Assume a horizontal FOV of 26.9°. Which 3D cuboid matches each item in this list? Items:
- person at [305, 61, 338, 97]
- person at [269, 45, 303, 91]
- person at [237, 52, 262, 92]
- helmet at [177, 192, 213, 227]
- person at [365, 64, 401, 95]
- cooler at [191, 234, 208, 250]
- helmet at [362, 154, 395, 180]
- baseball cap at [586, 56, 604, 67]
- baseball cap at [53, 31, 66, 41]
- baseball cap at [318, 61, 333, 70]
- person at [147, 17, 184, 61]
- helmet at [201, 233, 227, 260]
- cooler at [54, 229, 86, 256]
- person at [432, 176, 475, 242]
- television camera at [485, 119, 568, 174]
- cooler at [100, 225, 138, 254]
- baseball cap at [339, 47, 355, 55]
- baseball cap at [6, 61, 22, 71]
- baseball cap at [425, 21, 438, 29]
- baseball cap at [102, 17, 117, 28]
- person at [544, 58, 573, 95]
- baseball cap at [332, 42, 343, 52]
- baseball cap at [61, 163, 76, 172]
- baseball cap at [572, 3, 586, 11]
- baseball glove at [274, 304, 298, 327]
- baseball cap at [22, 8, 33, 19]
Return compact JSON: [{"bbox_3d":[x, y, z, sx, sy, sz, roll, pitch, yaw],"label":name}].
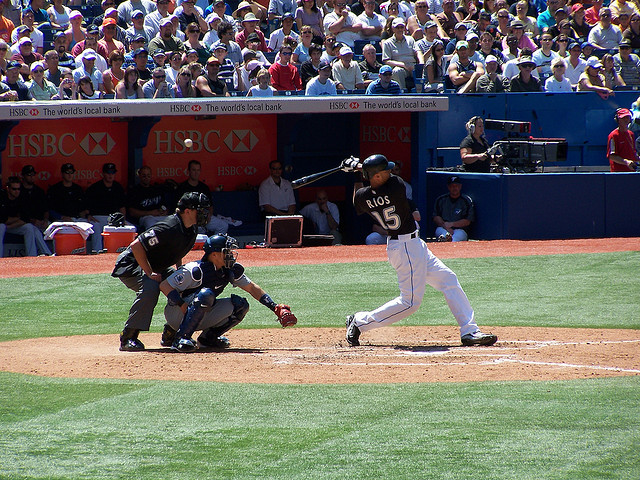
[{"bbox_3d":[0.032,-2.742,23.120,0.499,0.539,0.985,2,13,15],"label":"person"},{"bbox_3d":[-0.610,-3.002,23.396,0.576,0.794,0.479,-2,13,-4],"label":"person"},{"bbox_3d":[-1.221,-2.859,23.069,0.477,0.726,0.417,-7,38,-14],"label":"person"},{"bbox_3d":[-1.403,-0.316,14.749,0.336,0.292,0.281,9,-6,-2],"label":"helmet"},{"bbox_3d":[1.102,-2.762,23.423,0.854,0.508,0.448,1,-8,-42],"label":"person"},{"bbox_3d":[-1.961,0.046,21.729,0.351,0.183,0.461,2,11,0],"label":"cooler"},{"bbox_3d":[0.635,-0.792,14.811,0.348,0.289,0.246,-1,13,1],"label":"helmet"},{"bbox_3d":[5.178,-3.367,25.350,0.324,0.160,0.231,-2,0,34],"label":"baseball cap"},{"bbox_3d":[-4.382,-3.400,22.337,0.187,0.090,0.284,-7,6,-32],"label":"baseball cap"},{"bbox_3d":[0.051,-3.017,23.193,0.171,0.099,0.237,-1,6,-23],"label":"baseball cap"},{"bbox_3d":[-2.617,-3.402,22.843,0.443,0.751,0.848,5,15,40],"label":"person"},{"bbox_3d":[-1.146,0.073,14.719,0.291,0.274,0.219,8,11,8],"label":"helmet"},{"bbox_3d":[-4.003,0.044,21.386,0.464,0.409,0.425,-1,-1,-11],"label":"cooler"},{"bbox_3d":[2.220,-0.439,22.569,0.746,1.041,1.078,1,0,9],"label":"person"},{"bbox_3d":[3.413,-1.526,22.359,1.334,0.878,0.835,1,4,15],"label":"television camera"},{"bbox_3d":[-3.066,0.000,20.382,0.448,0.281,0.248,-1,14,-18],"label":"cooler"},{"bbox_3d":[0.448,-3.321,23.616,0.341,0.152,0.499,-3,5,-10],"label":"baseball cap"},{"bbox_3d":[-4.836,-2.738,21.116,0.216,0.112,0.149,3,11,38],"label":"baseball cap"},{"bbox_3d":[2.027,-3.958,24.715,0.249,0.110,0.351,-3,10,-3],"label":"baseball cap"},{"bbox_3d":[-3.557,-3.652,22.555,0.167,0.121,0.227,0,5,-18],"label":"baseball cap"},{"bbox_3d":[4.409,-3.025,24.839,0.475,0.590,1.042,8,16,35],"label":"person"},{"bbox_3d":[0.309,-3.496,24.289,0.175,0.121,0.171,5,13,8],"label":"baseball cap"},{"bbox_3d":[-4.127,-1.168,21.812,0.193,0.134,0.236,-3,13,-10],"label":"baseball cap"},{"bbox_3d":[5.178,-4.672,27.063,0.178,0.130,0.243,-14,10,-20],"label":"baseball cap"},{"bbox_3d":[-0.393,0.863,14.868,0.219,0.275,0.279,-2,13,-4],"label":"baseball glove"},{"bbox_3d":[-5.068,-3.930,23.100,0.245,0.162,0.236,0,5,0],"label":"baseball cap"}]
